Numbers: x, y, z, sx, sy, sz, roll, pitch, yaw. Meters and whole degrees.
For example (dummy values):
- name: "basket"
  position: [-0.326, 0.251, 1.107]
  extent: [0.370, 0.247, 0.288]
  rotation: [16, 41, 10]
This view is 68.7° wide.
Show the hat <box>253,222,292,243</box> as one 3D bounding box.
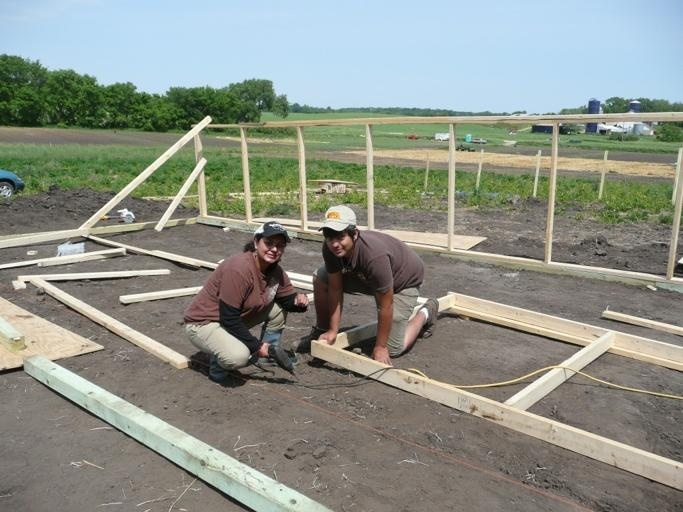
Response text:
- name: "hat"
  position: [-0.577, -0.203, 4.288]
  extent: [0.228, 0.111, 0.281]
  rotation: [3, 0, -27]

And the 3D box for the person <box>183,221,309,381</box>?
- name: "person"
  position: [-0.909, 0.411, 4.644]
  extent: [0.947, 1.490, 0.748]
  rotation: [1, 14, 7]

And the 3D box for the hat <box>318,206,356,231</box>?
- name: "hat"
  position: [-0.026, -0.345, 4.565]
  extent: [0.299, 0.219, 0.320]
  rotation: [0, 11, 4]

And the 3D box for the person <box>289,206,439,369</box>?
- name: "person"
  position: [0.316, 0.233, 4.909]
  extent: [1.107, 1.509, 1.384]
  rotation: [2, 3, 40]
